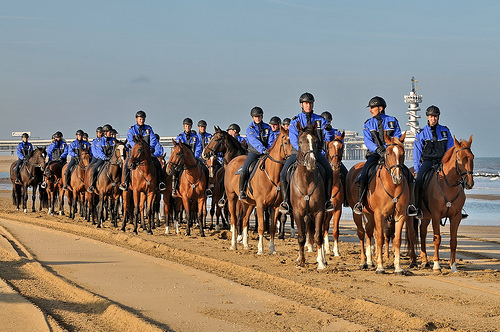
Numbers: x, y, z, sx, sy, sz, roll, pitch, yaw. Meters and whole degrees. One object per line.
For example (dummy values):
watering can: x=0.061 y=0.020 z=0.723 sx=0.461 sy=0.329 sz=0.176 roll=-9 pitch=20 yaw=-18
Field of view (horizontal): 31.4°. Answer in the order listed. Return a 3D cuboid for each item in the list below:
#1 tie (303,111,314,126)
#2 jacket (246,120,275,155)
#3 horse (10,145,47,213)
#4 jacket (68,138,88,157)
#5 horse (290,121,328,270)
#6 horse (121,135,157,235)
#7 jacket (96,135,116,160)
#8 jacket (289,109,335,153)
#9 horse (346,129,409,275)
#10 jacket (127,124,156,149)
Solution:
tie: x=1.932 y=-1.509 z=28.637 sx=0.278 sy=0.368 sz=0.147 roll=0 pitch=-9 yaw=-4
jacket: x=0.423 y=-0.991 z=31.636 sx=1.085 sy=1.134 sz=0.985 roll=-9 pitch=-7 yaw=42
horse: x=-11.549 y=0.766 z=45.786 sx=1.445 sy=3.174 sz=4.850 roll=3 pitch=-4 yaw=-32
jacket: x=-8.282 y=-0.831 z=42.360 sx=1.254 sy=1.056 sz=0.725 roll=0 pitch=-4 yaw=-15
horse: x=1.779 y=0.938 z=27.548 sx=1.177 sy=4.492 sz=1.847 roll=-1 pitch=0 yaw=8
horse: x=-4.137 y=0.792 z=34.340 sx=1.065 sy=3.775 sz=2.077 roll=-1 pitch=0 yaw=-6
jacket: x=-6.182 y=-0.720 z=38.185 sx=1.173 sy=1.198 sz=0.804 roll=1 pitch=-6 yaw=-28
jacket: x=1.989 y=-1.289 z=28.203 sx=1.629 sy=1.079 sz=2.139 roll=-6 pitch=2 yaw=-5
horse: x=4.080 y=1.145 z=27.980 sx=1.394 sy=4.383 sz=3.082 roll=-1 pitch=0 yaw=-6
jacket: x=-4.290 y=-1.087 z=35.280 sx=1.148 sy=1.052 sz=0.749 roll=-1 pitch=-3 yaw=-9
